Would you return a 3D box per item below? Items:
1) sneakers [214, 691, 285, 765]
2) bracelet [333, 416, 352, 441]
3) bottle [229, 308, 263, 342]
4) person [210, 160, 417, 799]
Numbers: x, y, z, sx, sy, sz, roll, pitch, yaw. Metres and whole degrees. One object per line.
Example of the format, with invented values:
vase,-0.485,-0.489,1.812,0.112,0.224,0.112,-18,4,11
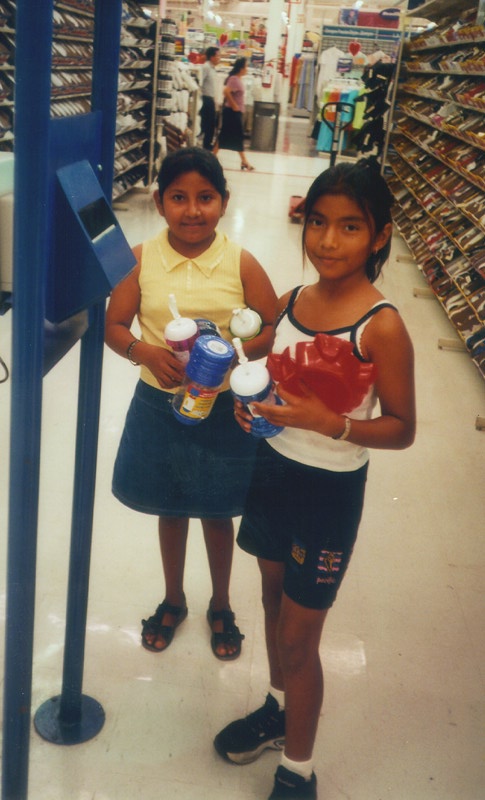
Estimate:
sneakers,0.014,0.464,1.014,0.139,0.098,0.046,21,12,-49
bracelet,0.117,0.032,0.803,0.009,0.026,0.020,9,39,-12
bottle,0.001,-0.091,0.832,0.043,0.042,0.045,12,2,7
person,0.095,0.126,0.913,0.213,0.825,0.305,12,26,8
